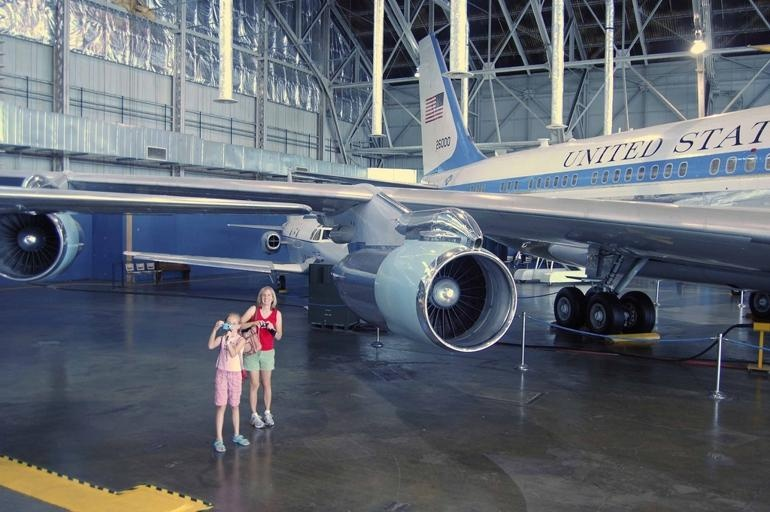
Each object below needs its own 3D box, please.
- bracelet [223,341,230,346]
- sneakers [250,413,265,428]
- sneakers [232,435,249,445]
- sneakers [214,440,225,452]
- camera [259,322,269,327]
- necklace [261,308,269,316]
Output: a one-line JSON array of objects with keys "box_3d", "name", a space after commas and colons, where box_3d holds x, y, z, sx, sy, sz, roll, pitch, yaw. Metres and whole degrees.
[{"box_3d": [-2.389, 1.318, 10.020, 0.085, 0.072, 0.017, 2, 10, 14], "name": "bracelet"}, {"box_3d": [-2.012, 2.677, 10.715, 0.344, 0.225, 0.135, -12, -11, 37], "name": "sneakers"}, {"box_3d": [-2.199, 2.825, 10.179, 0.239, 0.096, 0.123, -2, -3, 31], "name": "sneakers"}, {"box_3d": [-2.478, 2.832, 10.005, 0.166, 0.171, 0.234, -3, 10, -15], "name": "sneakers"}, {"box_3d": [-1.901, 1.078, 10.488, 0.116, 0.093, 0.040, -1, 10, -3], "name": "camera"}, {"box_3d": [-1.886, 0.893, 10.574, 0.109, 0.103, 0.029, 0, 21, -10], "name": "necklace"}]
